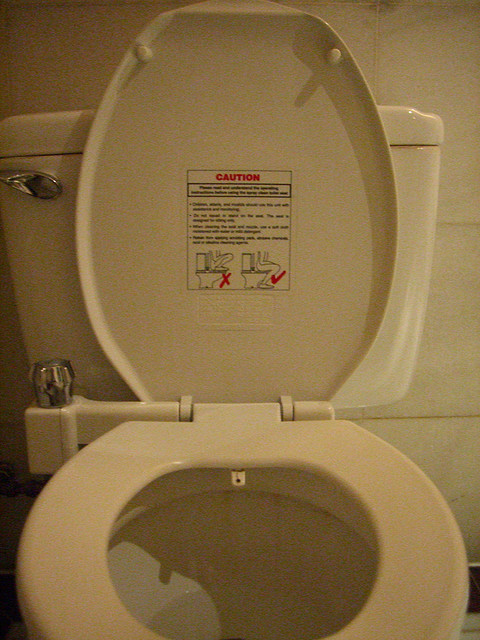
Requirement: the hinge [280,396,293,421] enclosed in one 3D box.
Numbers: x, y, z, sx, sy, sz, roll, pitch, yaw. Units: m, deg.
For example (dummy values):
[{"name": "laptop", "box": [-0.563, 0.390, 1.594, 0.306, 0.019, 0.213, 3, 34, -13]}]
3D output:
[{"name": "hinge", "box": [0.057, 0.109, 0.759, 0.014, 0.026, 0.031, -1, -1, 1]}]
